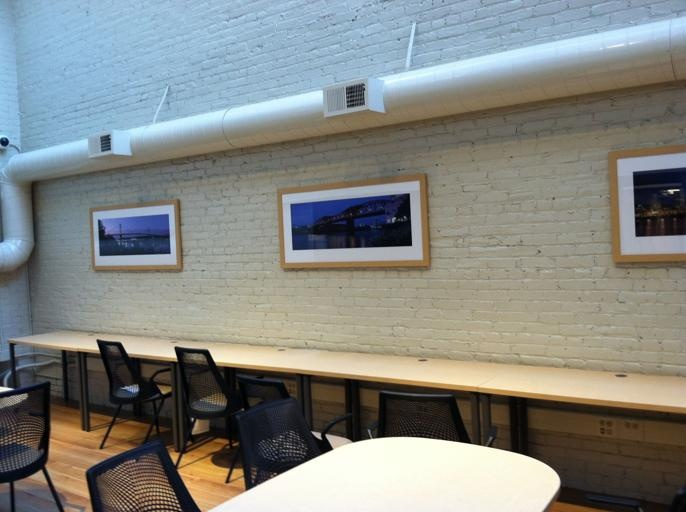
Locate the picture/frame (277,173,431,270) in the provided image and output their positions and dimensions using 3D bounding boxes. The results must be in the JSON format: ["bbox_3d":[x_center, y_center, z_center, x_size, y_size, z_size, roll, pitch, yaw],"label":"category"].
[{"bbox_3d":[0.058,-0.292,4.861,1.567,0.829,0.159,-2,10,29],"label":"picture/frame"}]

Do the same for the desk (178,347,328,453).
[{"bbox_3d":[-1.115,1.353,4.702,0.878,0.699,0.762,11,-19,-28],"label":"desk"}]
